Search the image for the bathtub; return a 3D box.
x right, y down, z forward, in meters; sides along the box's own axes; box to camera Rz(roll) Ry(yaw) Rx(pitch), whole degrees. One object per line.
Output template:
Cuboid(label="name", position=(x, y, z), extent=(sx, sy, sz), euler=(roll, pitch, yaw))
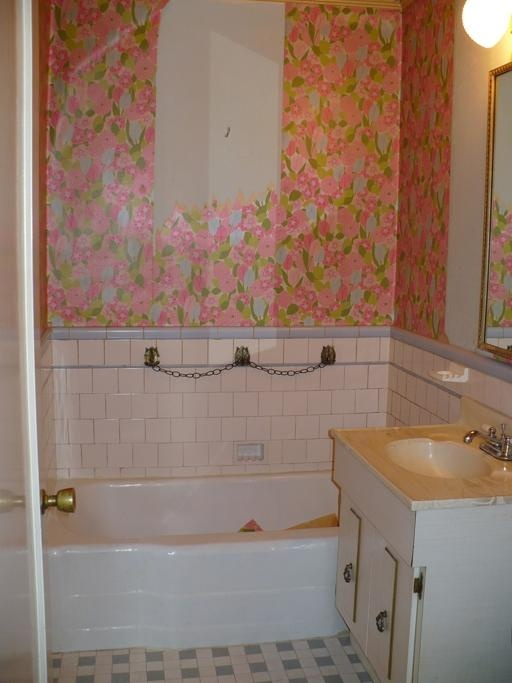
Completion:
Cuboid(label="bathtub", position=(-0.277, 1.043, 2.681), extent=(1.358, 0.557, 0.809), euler=(-3, 2, -11))
